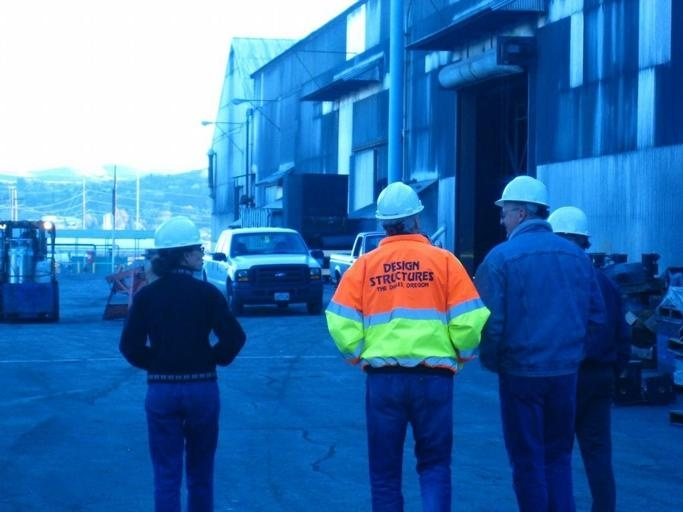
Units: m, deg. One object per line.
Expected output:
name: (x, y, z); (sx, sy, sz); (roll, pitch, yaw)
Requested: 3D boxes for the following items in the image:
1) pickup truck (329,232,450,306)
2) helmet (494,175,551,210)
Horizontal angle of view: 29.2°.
pickup truck: (0.420, 0.225, 32.802); (1.492, 1.395, 2.816); (-3, -6, -21)
helmet: (2.064, -0.711, 14.515); (0.390, 0.231, 0.348); (9, 0, 13)
